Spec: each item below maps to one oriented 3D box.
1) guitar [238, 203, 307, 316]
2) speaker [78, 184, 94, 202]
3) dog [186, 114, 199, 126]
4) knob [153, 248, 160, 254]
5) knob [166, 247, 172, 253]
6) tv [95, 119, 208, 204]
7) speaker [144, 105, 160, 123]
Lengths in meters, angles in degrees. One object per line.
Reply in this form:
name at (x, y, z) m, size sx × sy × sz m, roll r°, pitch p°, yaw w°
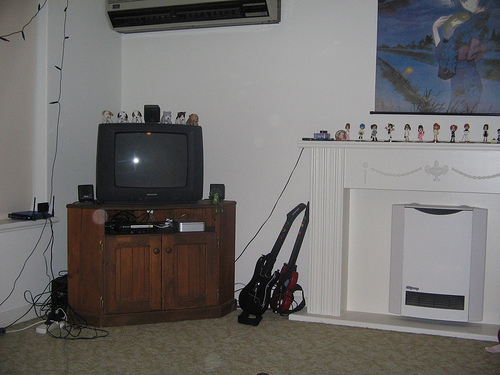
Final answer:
guitar at (0.181, 0.639, 3.965) m, size 0.572 × 0.896 × 0.219 m, roll -10°, pitch 16°, yaw -42°
speaker at (-1.395, 0.047, 3.938) m, size 0.120 × 0.132 × 0.173 m, roll -3°, pitch 13°, yaw -18°
dog at (-0.513, -0.603, 4.143) m, size 0.078 × 0.111 × 0.111 m, roll 5°, pitch -8°, yaw -8°
knob at (-0.753, 0.520, 3.737) m, size 0.051 × 0.049 × 0.019 m, roll -2°, pitch 12°, yaw -12°
knob at (-0.655, 0.517, 3.753) m, size 0.048 × 0.046 × 0.015 m, roll -2°, pitch 12°, yaw -14°
tv at (-0.882, -0.208, 4.076) m, size 1.057 × 0.867 × 0.626 m, roll 1°, pitch 0°, yaw -11°
speaker at (-0.844, -0.633, 4.000) m, size 0.132 × 0.144 × 0.142 m, roll -1°, pitch 5°, yaw -14°
